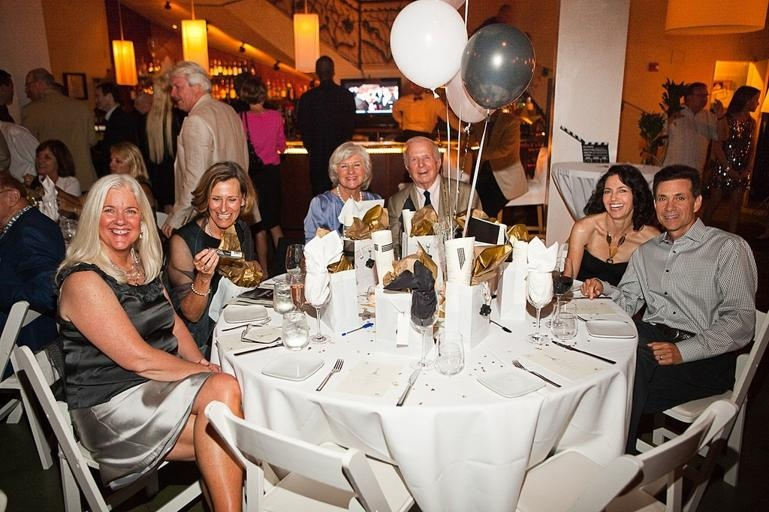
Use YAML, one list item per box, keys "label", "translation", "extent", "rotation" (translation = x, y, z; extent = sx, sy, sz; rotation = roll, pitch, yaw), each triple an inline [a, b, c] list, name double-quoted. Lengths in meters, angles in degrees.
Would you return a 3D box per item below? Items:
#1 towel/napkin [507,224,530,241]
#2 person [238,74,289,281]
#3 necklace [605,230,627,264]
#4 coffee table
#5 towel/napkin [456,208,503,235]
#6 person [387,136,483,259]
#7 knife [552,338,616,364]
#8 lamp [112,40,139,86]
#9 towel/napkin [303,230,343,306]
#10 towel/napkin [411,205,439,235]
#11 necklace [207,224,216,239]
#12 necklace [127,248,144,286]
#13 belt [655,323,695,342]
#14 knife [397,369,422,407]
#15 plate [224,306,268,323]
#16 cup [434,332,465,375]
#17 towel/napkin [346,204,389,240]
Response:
- label: "towel/napkin"
  translation: [0.717, -0.100, 2.599]
  extent: [0.098, 0.041, 0.109]
  rotation: [6, 44, 22]
- label: "person"
  translation: [-1.408, -1.205, 5.678]
  extent: [0.563, 1.874, 0.508]
  rotation: [8, 52, -8]
- label: "necklace"
  translation: [1.569, -0.046, 3.302]
  extent: [0.108, 0.201, 0.046]
  rotation: [3, -16, 30]
- label: "coffee table"
  translation: [2.057, -0.757, 5.038]
  extent: [0.792, 0.514, 0.826]
  rotation: [-1, 16, 3]
- label: "towel/napkin"
  translation: [0.528, -0.204, 2.727]
  extent: [0.221, 0.094, 0.165]
  rotation: [6, 5, 18]
- label: "person"
  translation: [0.355, -0.451, 3.625]
  extent: [0.664, 0.819, 1.340]
  rotation: [0, 13, 1]
- label: "knife"
  translation: [0.938, 0.462, 2.290]
  extent: [0.017, 0.044, 0.245]
  rotation: [-21, 28, -40]
- label: "lamp"
  translation: [-4.194, -3.113, 7.872]
  extent: [0.287, 0.673, 0.575]
  rotation: [-8, 15, -28]
- label: "towel/napkin"
  translation: [-0.296, 0.062, 2.324]
  extent: [0.191, 0.334, 0.107]
  rotation: [-6, 2, 2]
- label: "towel/napkin"
  translation: [0.220, -0.178, 2.687]
  extent: [0.154, 0.148, 0.159]
  rotation: [3, 14, 13]
- label: "necklace"
  translation: [-1.114, -0.152, 3.142]
  extent: [0.054, 0.058, 0.074]
  rotation: [-16, 10, -1]
- label: "necklace"
  translation: [-1.327, 0.070, 2.600]
  extent: [0.038, 0.176, 0.124]
  rotation: [-9, 0, 10]
- label: "belt"
  translation: [1.672, 0.465, 2.842]
  extent: [0.144, 0.064, 0.115]
  rotation: [5, 3, 13]
- label: "knife"
  translation: [0.107, 0.566, 2.070]
  extent: [0.040, 0.027, 0.306]
  rotation: [0, 24, 19]
- label: "plate"
  translation: [-0.746, 0.323, 2.604]
  extent: [0.145, 0.023, 0.113]
  rotation: [-2, 22, -10]
- label: "cup"
  translation: [0.292, 0.445, 2.248]
  extent: [0.152, 0.228, 0.156]
  rotation: [-4, 3, 0]
- label: "towel/napkin"
  translation: [-0.091, -0.169, 2.721]
  extent: [0.165, 0.082, 0.219]
  rotation: [26, 55, 37]
